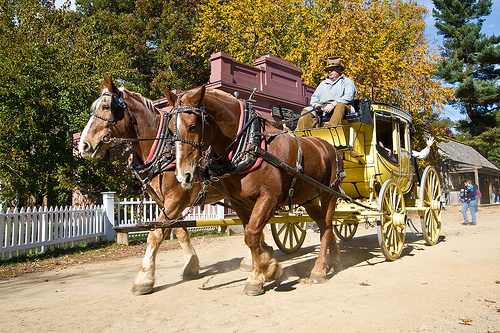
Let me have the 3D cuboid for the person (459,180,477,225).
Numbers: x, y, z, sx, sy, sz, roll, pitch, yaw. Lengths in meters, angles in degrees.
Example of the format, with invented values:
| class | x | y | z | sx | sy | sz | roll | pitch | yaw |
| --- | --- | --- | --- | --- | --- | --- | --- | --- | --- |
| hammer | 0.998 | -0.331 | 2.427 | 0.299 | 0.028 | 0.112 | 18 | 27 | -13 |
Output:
| class | x | y | z | sx | sy | sz | roll | pitch | yaw |
| --- | --- | --- | --- | --- | --- | --- | --- | --- | --- |
| person | 10.309 | 1.676 | 21.306 | 0.745 | 2.179 | 0.755 | -1 | -5 | 36 |

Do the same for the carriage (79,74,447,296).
| class | x | y | z | sx | sy | sz | roll | pitch | yaw |
| --- | --- | --- | --- | --- | --- | --- | --- | --- | --- |
| carriage | 0.810 | 0.166 | 11.622 | 9.153 | 6.483 | 2.213 | 13 | -21 | -35 |

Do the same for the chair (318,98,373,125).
| class | x | y | z | sx | sy | sz | roll | pitch | yaw |
| --- | --- | --- | --- | --- | --- | --- | --- | --- | --- |
| chair | 2.535 | -1.607 | 12.176 | 1.256 | 0.895 | 0.910 | 6 | 17 | 18 |
